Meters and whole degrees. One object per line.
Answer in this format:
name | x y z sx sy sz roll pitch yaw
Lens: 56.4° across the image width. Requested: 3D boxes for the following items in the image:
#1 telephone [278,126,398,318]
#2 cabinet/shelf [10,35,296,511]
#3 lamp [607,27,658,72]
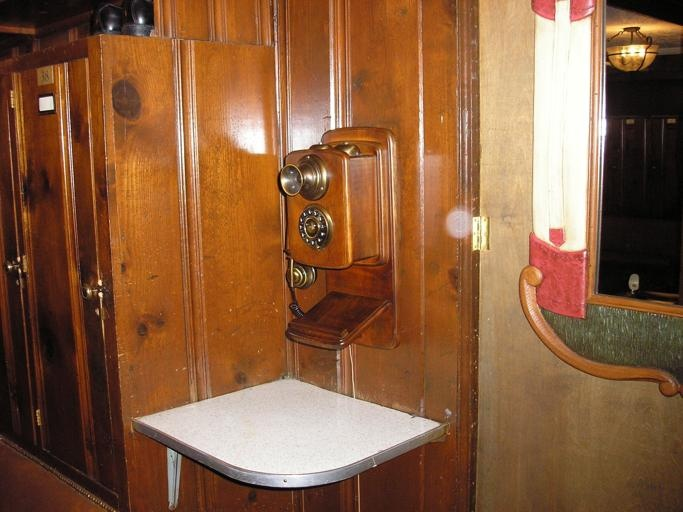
telephone | -0.014 -0.092 2.043 0.374 0.633 0.328 3 10 31
cabinet/shelf | -0.741 0.061 2.233 0.974 1.557 0.574 1 11 17
lamp | 0.727 -0.518 1.607 0.092 0.095 0.103 6 -1 -1
